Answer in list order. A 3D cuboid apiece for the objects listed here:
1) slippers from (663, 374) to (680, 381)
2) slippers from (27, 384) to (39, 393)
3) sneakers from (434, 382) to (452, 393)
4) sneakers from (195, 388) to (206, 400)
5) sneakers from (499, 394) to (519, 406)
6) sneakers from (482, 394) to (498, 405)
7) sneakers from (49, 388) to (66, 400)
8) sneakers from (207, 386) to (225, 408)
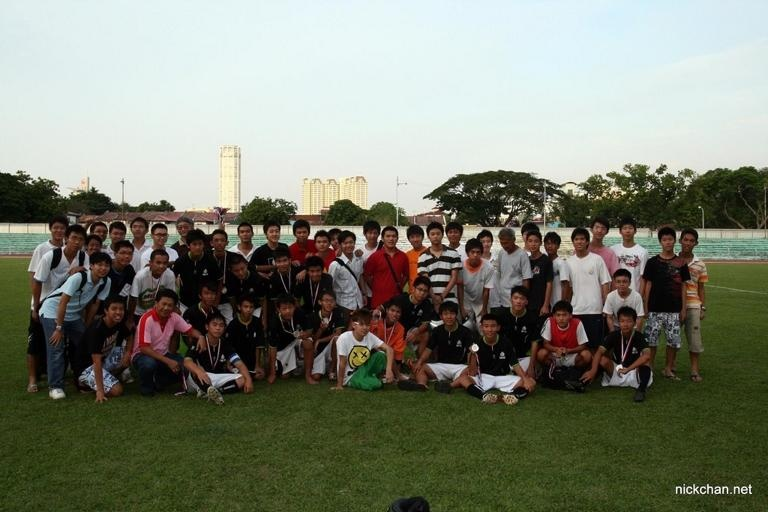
[{"bbox_3d":[4.307,1.826,8.847,0.168,0.040,0.096,6,12,38],"label":"slippers"},{"bbox_3d":[-4.820,1.809,8.128,0.135,0.079,0.225,-6,13,-30],"label":"slippers"},{"bbox_3d":[0.842,1.842,8.341,0.252,0.109,0.196,1,11,3],"label":"sneakers"},{"bbox_3d":[-2.473,1.864,8.042,0.116,0.153,0.130,10,-36,-13],"label":"sneakers"},{"bbox_3d":[1.686,1.907,7.876,0.200,0.120,0.121,2,11,7],"label":"sneakers"},{"bbox_3d":[1.414,1.903,7.864,0.187,0.107,0.084,-18,40,-19],"label":"sneakers"},{"bbox_3d":[-4.335,1.834,7.859,0.214,0.094,0.103,-5,-6,38],"label":"sneakers"},{"bbox_3d":[-2.183,1.846,7.801,0.180,0.255,0.066,-8,38,30],"label":"sneakers"}]
